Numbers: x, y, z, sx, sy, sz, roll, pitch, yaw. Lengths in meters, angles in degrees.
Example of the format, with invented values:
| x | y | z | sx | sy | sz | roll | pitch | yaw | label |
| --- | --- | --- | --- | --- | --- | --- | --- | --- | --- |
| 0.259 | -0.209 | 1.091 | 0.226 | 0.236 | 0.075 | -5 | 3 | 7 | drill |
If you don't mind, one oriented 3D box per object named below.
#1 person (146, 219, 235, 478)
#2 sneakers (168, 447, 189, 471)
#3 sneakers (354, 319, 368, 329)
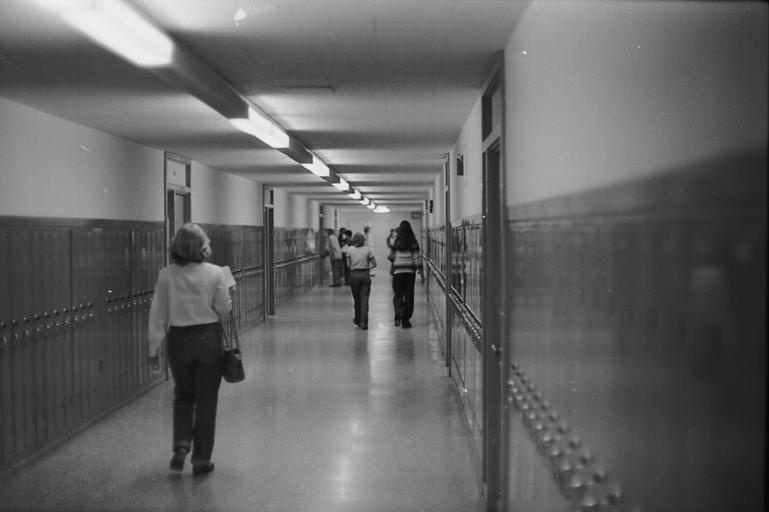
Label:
| x | y | z | sx | sy | sz | roll | pitch | yaw | label |
| --- | --- | --- | --- | --- | --- | --- | --- | --- | --- |
| -1.621 | 0.776 | 4.356 | 0.643 | 2.088 | 0.292 | -2 | 3 | -15 | person |
| -1.718 | 1.703 | 4.350 | 0.149 | 0.256 | 0.230 | -2 | 4 | -24 | sneakers |
| -0.466 | 1.381 | 10.827 | 0.248 | 0.191 | 0.502 | -2 | 4 | -22 | sneakers |
